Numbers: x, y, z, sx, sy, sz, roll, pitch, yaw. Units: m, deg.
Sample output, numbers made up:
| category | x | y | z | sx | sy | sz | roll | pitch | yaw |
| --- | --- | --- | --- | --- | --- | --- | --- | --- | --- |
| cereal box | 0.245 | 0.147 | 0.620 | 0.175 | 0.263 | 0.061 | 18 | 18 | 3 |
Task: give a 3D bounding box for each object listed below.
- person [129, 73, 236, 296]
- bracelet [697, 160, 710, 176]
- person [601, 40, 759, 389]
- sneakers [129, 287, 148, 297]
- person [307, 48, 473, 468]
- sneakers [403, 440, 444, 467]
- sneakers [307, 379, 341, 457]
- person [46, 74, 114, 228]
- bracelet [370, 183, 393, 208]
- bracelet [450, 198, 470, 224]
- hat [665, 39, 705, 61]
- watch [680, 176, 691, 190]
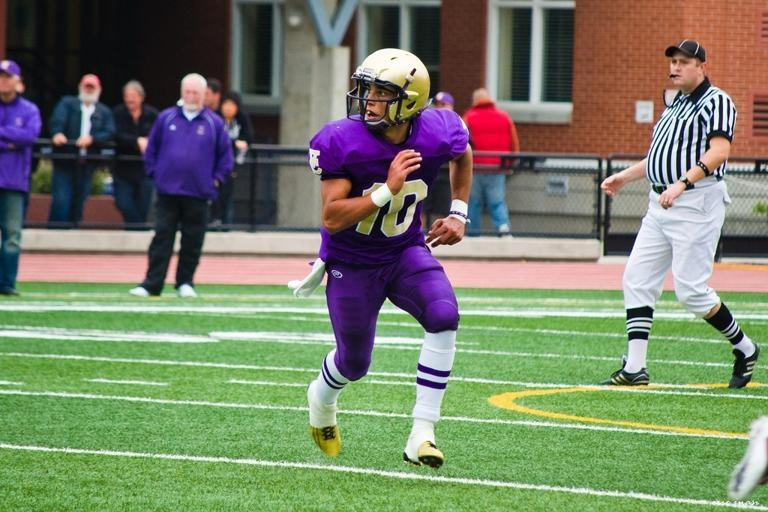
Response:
| category | x | y | z | sx | sy | sz | roll | pitch | yaw |
| --- | --- | --- | --- | --- | --- | --- | --- | --- | --- |
| person | -2.361 | -0.789 | 15.899 | 1.116 | 2.578 | 0.543 | -1 | 12 | -11 |
| bracelet | 2.893 | -0.785 | 12.359 | 0.153 | 0.144 | 0.095 | 0 | 12 | -6 |
| person | 2.779 | -0.369 | 12.574 | 1.253 | 3.119 | 0.641 | 3 | 12 | 9 |
| sneakers | -2.861 | 0.422 | 15.834 | 0.208 | 0.089 | 0.109 | 7 | 0 | 22 |
| person | -0.015 | -0.004 | 11.004 | 1.365 | 3.234 | 1.046 | 1 | 11 | -1 |
| sneakers | 0.333 | 1.561 | 10.817 | 0.151 | 0.181 | 0.370 | 20 | -24 | -31 |
| sneakers | -0.507 | 1.331 | 11.158 | 0.223 | 0.661 | 0.286 | -9 | 7 | -9 |
| person | -4.151 | -1.394 | 18.515 | 0.890 | 2.042 | 0.664 | -2 | 12 | -14 |
| bracelet | -0.024 | -0.477 | 10.734 | 0.171 | 0.197 | 0.233 | 1 | 12 | 1 |
| bracelet | 0.630 | -0.352 | 11.330 | 0.168 | 0.167 | 0.194 | 20 | -19 | -31 |
| hat | 2.816 | -1.866 | 12.561 | 0.317 | 0.161 | 0.218 | 11 | 2 | -31 |
| watch | 2.730 | -0.657 | 12.352 | 0.092 | 0.060 | 0.089 | 51 | 2 | 41 |
